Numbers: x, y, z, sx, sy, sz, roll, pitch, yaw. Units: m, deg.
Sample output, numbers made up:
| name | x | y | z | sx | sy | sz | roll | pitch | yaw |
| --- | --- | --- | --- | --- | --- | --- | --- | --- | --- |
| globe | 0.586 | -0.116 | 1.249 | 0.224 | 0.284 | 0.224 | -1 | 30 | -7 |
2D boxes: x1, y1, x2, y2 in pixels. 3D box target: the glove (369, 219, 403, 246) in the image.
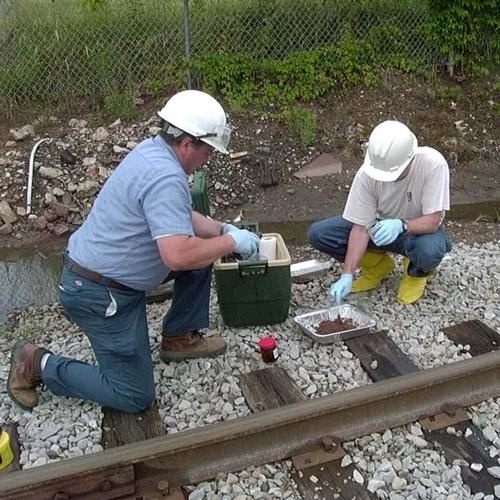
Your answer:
| name | x | y | z | sx | sy | sz | roll | pitch | yaw |
| --- | --- | --- | --- | --- | --- | --- | --- | --- | --- |
| glove | 0.950 | -0.132 | 3.409 | 0.237 | 0.146 | 0.187 | -15 | 36 | -23 |

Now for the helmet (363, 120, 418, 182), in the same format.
| name | x | y | z | sx | sy | sz | roll | pitch | yaw |
| --- | --- | --- | --- | --- | --- | --- | --- | --- | --- |
| helmet | 0.946 | -0.613 | 3.339 | 0.357 | 0.433 | 0.302 | 9 | 35 | 12 |

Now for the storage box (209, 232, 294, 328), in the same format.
| name | x | y | z | sx | sy | sz | roll | pitch | yaw |
| --- | --- | --- | --- | --- | --- | --- | --- | --- | --- |
| storage box | 0.036 | 0.227 | 3.680 | 0.495 | 0.436 | 0.669 | -2 | 17 | 3 |

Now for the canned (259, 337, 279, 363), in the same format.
| name | x | y | z | sx | sy | sz | roll | pitch | yaw |
| --- | --- | --- | --- | --- | --- | --- | --- | --- | --- |
| canned | 0.120 | 0.652 | 3.203 | 0.152 | 0.156 | 0.104 | -2 | 37 | 1 |

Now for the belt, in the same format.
| name | x | y | z | sx | sy | sz | roll | pitch | yaw |
| --- | --- | --- | --- | --- | --- | --- | --- | --- | --- |
| belt | -0.800 | 0.090 | 2.484 | 0.291 | 0.068 | 0.305 | -14 | -19 | 25 |

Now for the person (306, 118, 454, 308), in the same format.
| name | x | y | z | sx | sy | sz | roll | pitch | yaw |
| --- | --- | --- | --- | --- | --- | --- | --- | --- | --- |
| person | 0.993 | -0.251 | 3.745 | 1.042 | 1.316 | 0.892 | 4 | 26 | 26 |

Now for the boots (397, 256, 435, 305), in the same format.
| name | x | y | z | sx | sy | sz | roll | pitch | yaw |
| --- | --- | --- | --- | --- | --- | --- | --- | --- | --- |
| boots | 1.271 | 0.254 | 3.927 | 0.203 | 0.370 | 0.575 | 1 | 2 | 32 |

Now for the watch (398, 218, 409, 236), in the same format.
| name | x | y | z | sx | sy | sz | roll | pitch | yaw |
| --- | --- | --- | --- | --- | --- | --- | --- | --- | --- |
| watch | 1.041 | -0.148 | 3.407 | 0.065 | 0.092 | 0.087 | -3 | 20 | -7 |

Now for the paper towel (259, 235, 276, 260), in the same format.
| name | x | y | z | sx | sy | sz | roll | pitch | yaw |
| --- | --- | --- | --- | --- | --- | --- | --- | --- | --- |
| paper towel | 0.137 | -0.011 | 3.578 | 0.156 | 0.161 | 0.148 | 4 | 26 | 4 |

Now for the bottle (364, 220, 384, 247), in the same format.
| name | x | y | z | sx | sy | sz | roll | pitch | yaw |
| --- | --- | --- | --- | --- | --- | --- | --- | --- | --- |
| bottle | 0.858 | -0.117 | 3.459 | 0.136 | 0.057 | 0.169 | -10 | 72 | 15 |

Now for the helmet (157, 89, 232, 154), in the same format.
| name | x | y | z | sx | sy | sz | roll | pitch | yaw |
| --- | --- | --- | --- | --- | --- | --- | --- | --- | --- |
| helmet | -0.259 | -0.669 | 2.535 | 0.389 | 0.205 | 0.287 | 22 | 19 | -5 |
